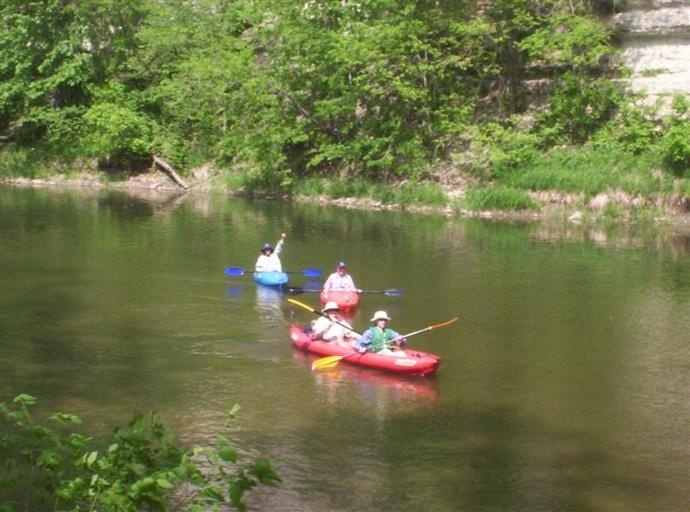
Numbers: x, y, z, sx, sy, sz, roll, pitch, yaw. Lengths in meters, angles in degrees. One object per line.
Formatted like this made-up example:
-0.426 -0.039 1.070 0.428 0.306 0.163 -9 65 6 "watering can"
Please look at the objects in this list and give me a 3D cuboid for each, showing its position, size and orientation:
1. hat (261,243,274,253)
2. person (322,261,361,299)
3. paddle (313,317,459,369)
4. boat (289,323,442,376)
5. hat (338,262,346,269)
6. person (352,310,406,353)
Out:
-2.669 -0.279 37.999 0.337 0.279 0.703 -2 5 -8 "hat"
-0.122 0.970 36.028 1.337 0.862 1.821 2 26 -6 "person"
1.170 2.599 32.276 3.452 0.448 0.343 -18 -15 1 "paddle"
0.724 2.830 31.822 4.777 0.781 1.413 8 12 25 "boat"
-0.106 0.333 36.418 0.255 0.113 0.364 1 3 0 "hat"
1.023 2.296 32.775 1.178 0.571 1.628 -2 37 -7 "person"
